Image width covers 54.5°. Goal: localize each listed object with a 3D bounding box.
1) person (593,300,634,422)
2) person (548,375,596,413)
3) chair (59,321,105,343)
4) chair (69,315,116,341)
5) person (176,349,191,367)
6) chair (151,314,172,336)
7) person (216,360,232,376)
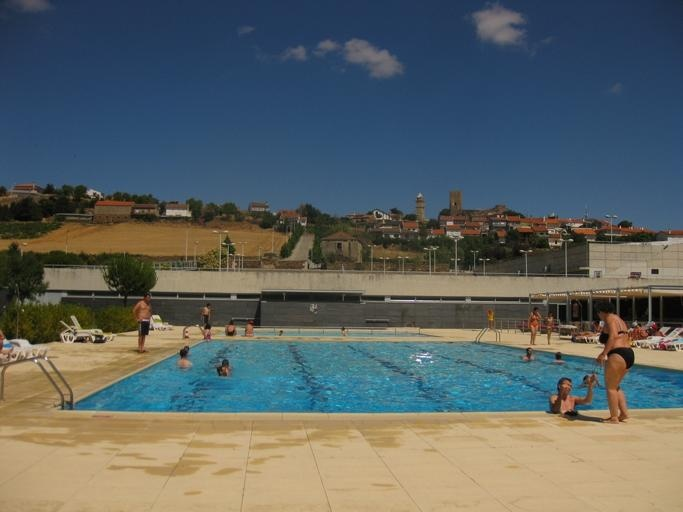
[{"bbox_3d":[4.582,1.777,11.106,0.559,1.974,0.554,0,-2,18],"label":"person"},{"bbox_3d":[4.209,2.549,12.128,0.807,0.694,1.224,0,-2,19],"label":"person"},{"bbox_3d":[-9.012,2.711,23.096,1.501,0.591,1.028,1,-2,-7],"label":"chair"},{"bbox_3d":[-8.912,2.573,23.265,1.272,0.727,0.948,0,-4,1],"label":"chair"},{"bbox_3d":[-4.465,2.901,18.746,0.368,0.530,0.703,1,-2,-12],"label":"person"},{"bbox_3d":[-10.411,3.933,37.258,1.587,0.917,1.227,-2,-4,44],"label":"chair"},{"bbox_3d":[-3.194,3.028,17.961,0.363,0.440,0.734,1,-2,-10],"label":"person"}]
